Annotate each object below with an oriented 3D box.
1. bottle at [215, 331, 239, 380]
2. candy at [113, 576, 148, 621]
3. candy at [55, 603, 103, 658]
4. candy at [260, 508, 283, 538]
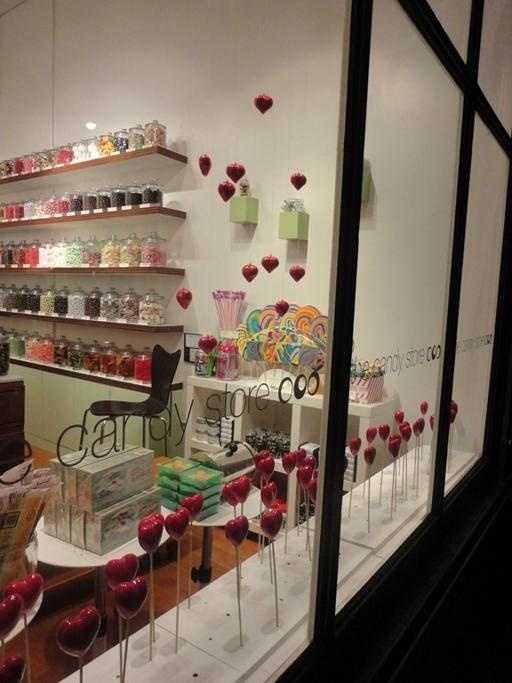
[{"bbox_3d":[-0.091,0.082,1.856,0.092,0.151,0.088,1,-17,0],"label":"bottle"},{"bbox_3d":[-0.140,0.284,0.553,0.024,0.041,0.042,8,3,43],"label":"candy"},{"bbox_3d":[-0.180,0.276,0.478,0.033,0.033,0.021,20,-7,38],"label":"candy"},{"bbox_3d":[0.024,0.278,0.789,0.040,0.045,0.043,-6,-12,-16],"label":"candy"}]
